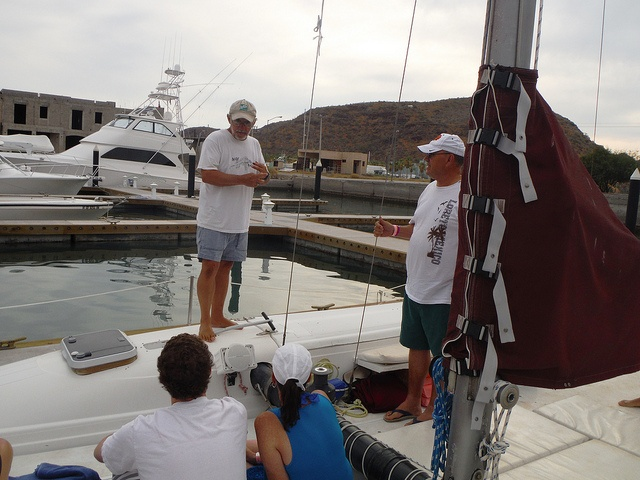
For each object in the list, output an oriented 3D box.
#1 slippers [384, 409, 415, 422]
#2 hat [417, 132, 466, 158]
[{"bbox_3d":[0.564,1.244,3.460,0.212,0.062,0.086,3,-1,-6],"label":"slippers"},{"bbox_3d":[0.797,-0.592,3.173,0.278,0.119,0.184,4,9,13],"label":"hat"}]
